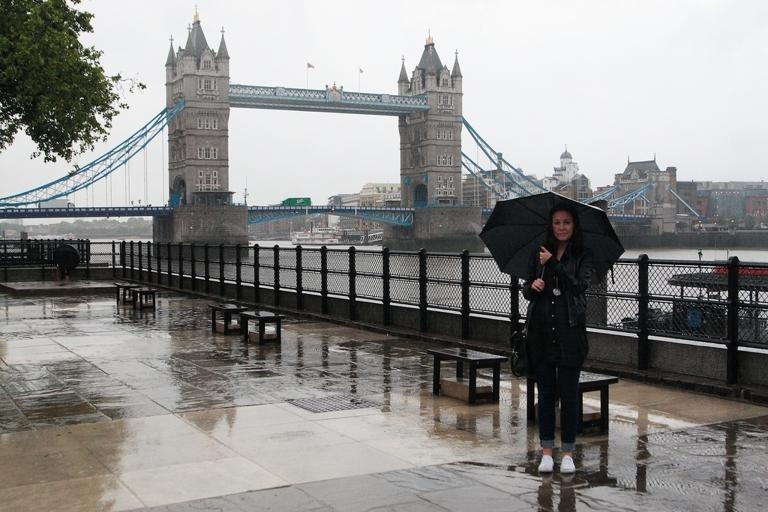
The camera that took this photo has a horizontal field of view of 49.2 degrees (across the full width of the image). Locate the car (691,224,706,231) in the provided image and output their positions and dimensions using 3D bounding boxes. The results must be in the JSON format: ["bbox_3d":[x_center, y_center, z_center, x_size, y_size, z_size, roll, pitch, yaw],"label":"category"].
[{"bbox_3d":[61.439,-5.717,162.671,2.360,0.977,2.931,0,0,6],"label":"car"}]

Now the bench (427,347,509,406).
[{"bbox_3d":[1.210,1.351,11.143,0.661,0.616,1.223,-3,4,-33],"label":"bench"}]

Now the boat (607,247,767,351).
[{"bbox_3d":[4.538,0.570,11.987,1.076,1.147,2.409,-4,6,-38],"label":"boat"}]

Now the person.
[{"bbox_3d":[1.757,0.814,8.393,0.645,2.681,0.331,0,4,10],"label":"person"}]
